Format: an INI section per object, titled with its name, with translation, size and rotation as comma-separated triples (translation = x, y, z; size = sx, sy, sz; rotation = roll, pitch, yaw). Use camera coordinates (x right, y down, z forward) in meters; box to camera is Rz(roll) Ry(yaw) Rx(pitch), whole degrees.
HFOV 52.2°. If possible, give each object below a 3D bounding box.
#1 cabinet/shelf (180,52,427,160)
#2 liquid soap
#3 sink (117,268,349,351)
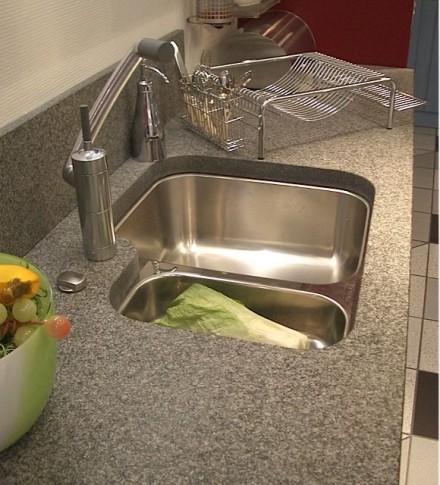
[cabinet/shelf]
translation = 0.274, -0.448, 1.332
size = 0.659, 0.221, 0.338
rotation = 3, 15, 16
[liquid soap]
translation = -0.187, -0.317, 1.114
size = 0.093, 0.218, 0.098
rotation = 16, 27, 29
[sink]
translation = 0.032, 0.101, 0.841
size = 0.370, 0.072, 0.160
rotation = 9, 34, 10
